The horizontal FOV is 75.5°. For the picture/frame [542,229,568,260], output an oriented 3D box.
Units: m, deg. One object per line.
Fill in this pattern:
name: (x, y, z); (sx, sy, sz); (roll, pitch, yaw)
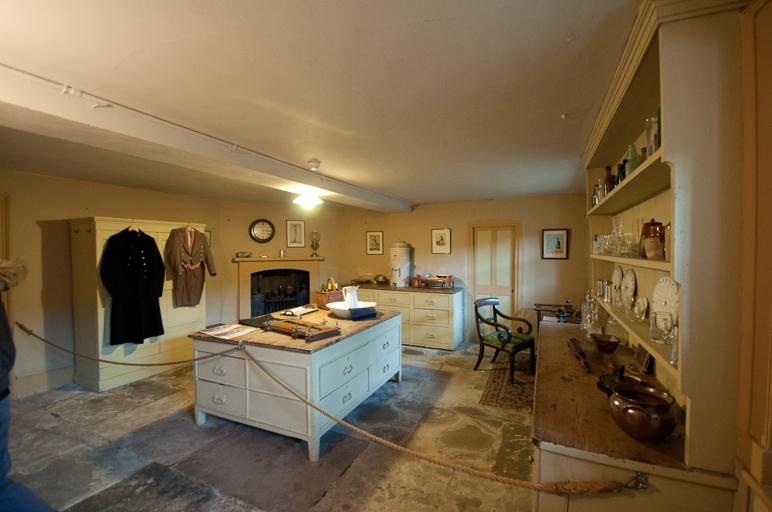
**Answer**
picture/frame: (2.355, -0.157, 6.854); (0.382, 0.468, 0.031); (3, 5, 26)

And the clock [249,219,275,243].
clock: (-1.912, -0.384, 7.720); (0.341, 0.345, 0.341); (2, 4, -18)

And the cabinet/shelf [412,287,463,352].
cabinet/shelf: (0.706, 0.901, 7.184); (0.711, 0.840, 0.238); (8, 14, 30)

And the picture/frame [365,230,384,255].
picture/frame: (-0.174, -0.227, 8.299); (0.391, 0.490, 0.032); (-2, -3, 37)

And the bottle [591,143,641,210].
bottle: (1.920, -0.661, 4.117); (0.170, 0.153, 0.585); (12, -33, 8)

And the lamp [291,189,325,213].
lamp: (-0.858, -0.660, 5.801); (0.443, 0.287, 0.420); (6, 9, 38)

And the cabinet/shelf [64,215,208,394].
cabinet/shelf: (-2.969, 0.481, 5.781); (1.288, 1.899, 0.693); (-8, 15, -34)

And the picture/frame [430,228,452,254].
picture/frame: (0.867, -0.227, 7.668); (0.378, 0.486, 0.032); (-1, -5, 32)

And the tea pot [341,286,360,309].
tea pot: (-0.366, 0.426, 5.215); (0.206, 0.247, 0.159); (-2, -1, 29)

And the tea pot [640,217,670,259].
tea pot: (1.895, -0.118, 3.511); (0.241, 0.403, 0.267); (0, 0, 27)

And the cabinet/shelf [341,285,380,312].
cabinet/shelf: (-0.339, 0.450, 5.186); (0.290, 0.202, 0.272); (-2, 0, 28)

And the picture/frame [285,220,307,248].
picture/frame: (-1.473, -0.356, 8.059); (0.440, 0.614, 0.032); (-2, -2, -41)
